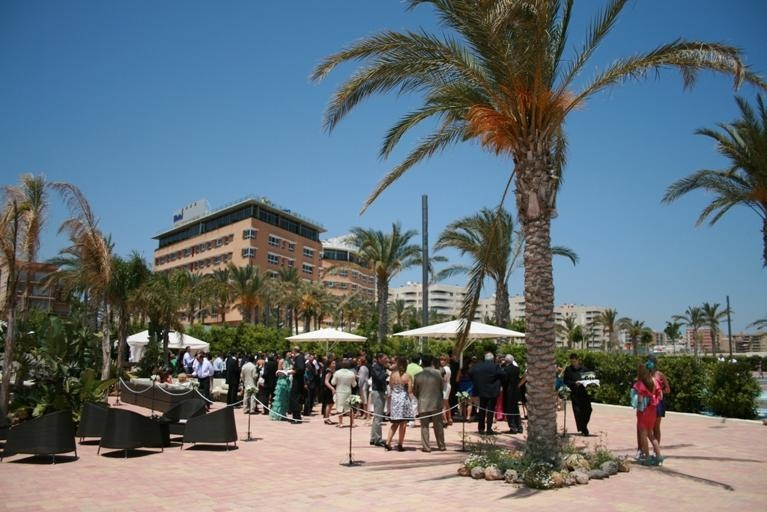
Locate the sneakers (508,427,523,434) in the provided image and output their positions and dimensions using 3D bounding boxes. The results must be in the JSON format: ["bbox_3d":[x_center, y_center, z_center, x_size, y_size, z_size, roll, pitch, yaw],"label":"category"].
[{"bbox_3d":[3.977,5.323,17.812,0.163,0.212,0.496,4,-22,-14],"label":"sneakers"}]

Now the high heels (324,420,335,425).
[{"bbox_3d":[-1.882,5.681,19.989,0.440,0.186,0.151,4,-6,-19],"label":"high heels"}]

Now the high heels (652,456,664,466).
[{"bbox_3d":[6.636,4.977,14.265,0.218,0.214,0.471,-6,-17,27],"label":"high heels"}]

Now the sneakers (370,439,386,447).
[{"bbox_3d":[-0.169,5.220,16.342,0.432,0.189,0.161,4,-7,-16],"label":"sneakers"}]

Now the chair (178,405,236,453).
[{"bbox_3d":[-4.659,4.731,15.876,1.289,1.102,1.268,7,-24,-8],"label":"chair"}]

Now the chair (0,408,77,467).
[{"bbox_3d":[-8.315,4.286,14.208,1.469,1.065,0.551,1,-15,3],"label":"chair"}]

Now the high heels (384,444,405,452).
[{"bbox_3d":[0.278,5.143,15.656,0.411,0.168,0.239,-2,-13,1],"label":"high heels"}]
